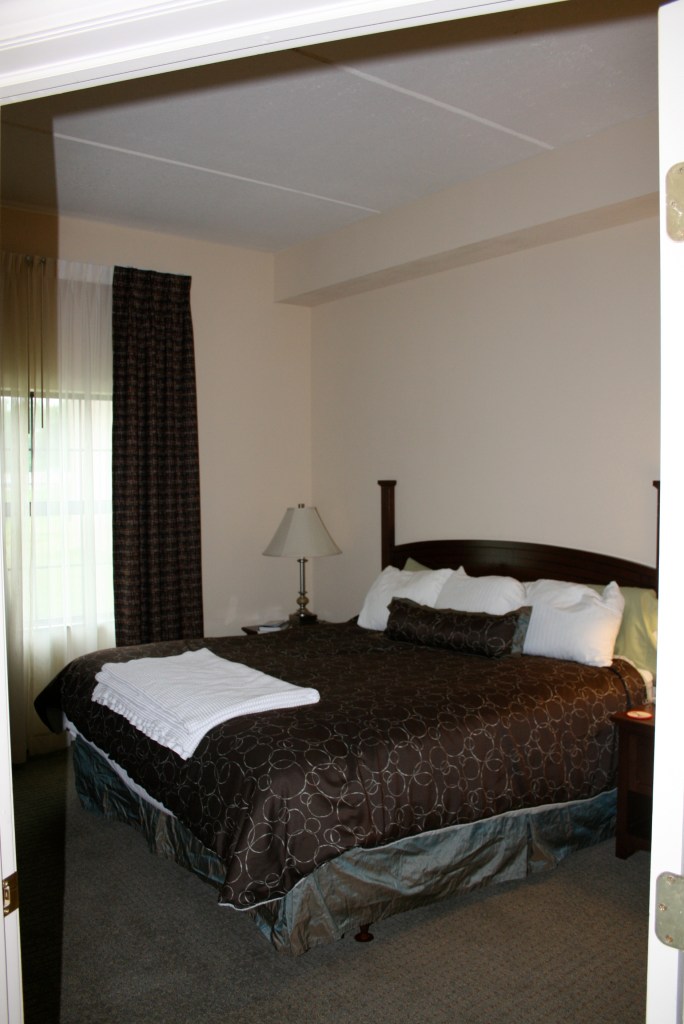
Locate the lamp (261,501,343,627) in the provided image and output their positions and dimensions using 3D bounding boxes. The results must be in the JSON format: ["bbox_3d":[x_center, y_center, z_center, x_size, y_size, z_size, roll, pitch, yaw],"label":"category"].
[{"bbox_3d":[-0.232,0.301,4.430,0.420,0.686,0.420,-1,2,-16],"label":"lamp"}]

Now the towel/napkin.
[{"bbox_3d":[-0.488,0.568,2.414,0.320,0.111,0.435,-3,6,-40],"label":"towel/napkin"}]

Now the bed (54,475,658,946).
[{"bbox_3d":[0.127,0.581,2.529,1.342,0.929,1.367,-1,3,-33],"label":"bed"}]
